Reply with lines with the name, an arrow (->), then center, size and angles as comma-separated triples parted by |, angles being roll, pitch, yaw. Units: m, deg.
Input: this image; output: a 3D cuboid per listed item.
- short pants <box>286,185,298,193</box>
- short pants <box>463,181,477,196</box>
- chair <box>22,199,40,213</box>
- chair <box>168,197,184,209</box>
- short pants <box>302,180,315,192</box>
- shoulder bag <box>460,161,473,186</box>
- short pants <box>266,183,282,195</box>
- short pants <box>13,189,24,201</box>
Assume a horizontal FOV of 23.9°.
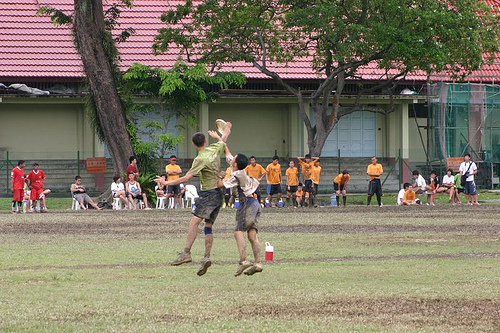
short pants -> 1.922, 0.992, 52.012 | 0.451, 0.340, 0.290 | -2, 28, -6
short pants -> 9.792, 0.969, 52.756 | 0.622, 0.774, 0.318 | -6, -9, 42
chair -> -9.208, 1.658, 49.913 | 0.523, 0.412, 0.538 | 0, -7, -7
chair -> -3.208, 1.600, 51.921 | 0.495, 0.577, 0.506 | 0, 1, -22
short pants -> 2.568, 0.853, 51.667 | 0.476, 0.568, 0.234 | 3, -13, -7
shoulder bag -> 9.633, 0.306, 52.563 | 0.222, 0.969, 0.570 | 12, 19, 11
short pants -> 1.066, 0.974, 51.722 | 0.679, 0.651, 0.394 | -2, 3, -18
short pants -> -9.641, 1.180, 49.245 | 0.419, 0.491, 0.265 | 0, -2, -28
